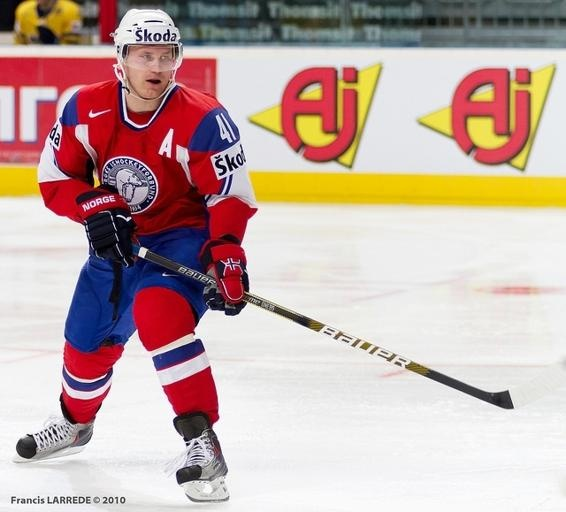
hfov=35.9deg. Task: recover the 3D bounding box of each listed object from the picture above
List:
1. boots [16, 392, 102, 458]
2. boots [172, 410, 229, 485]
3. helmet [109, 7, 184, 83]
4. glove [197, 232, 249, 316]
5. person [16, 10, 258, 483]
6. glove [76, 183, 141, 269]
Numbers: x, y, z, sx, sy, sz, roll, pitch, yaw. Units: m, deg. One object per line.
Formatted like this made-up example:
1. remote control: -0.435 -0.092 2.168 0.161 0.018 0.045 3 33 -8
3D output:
1. boots: -0.619 0.446 2.322 0.240 0.144 0.076 0 42 -48
2. boots: -0.191 0.441 2.021 0.117 0.137 0.141 -1 14 -7
3. helmet: -0.332 -0.540 2.287 0.216 0.191 0.215 0 1 -19
4. glove: -0.145 0.050 2.142 0.115 0.191 0.141 -1 14 -5
5. person: -0.380 -0.026 2.142 0.628 1.150 0.642 0 15 -1
6. glove: -0.432 -0.075 2.181 0.138 0.192 0.075 -14 -30 -12
